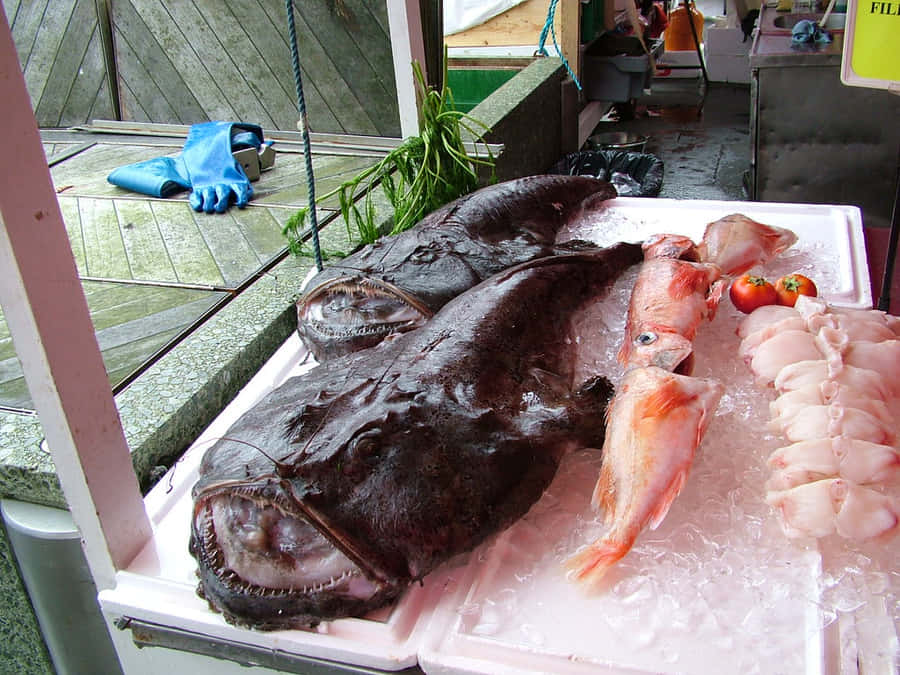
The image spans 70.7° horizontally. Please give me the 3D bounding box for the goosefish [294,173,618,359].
[{"bbox_3d":[0.043,-0.197,1.718,0.505,0.367,0.866,16,27,37],"label":"goosefish"}]

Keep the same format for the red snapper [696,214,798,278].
[{"bbox_3d":[0.832,-0.278,1.829,0.298,0.108,0.238,-27,28,-17],"label":"red snapper"}]

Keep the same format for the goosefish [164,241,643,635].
[{"bbox_3d":[-0.031,0.177,1.277,0.977,0.407,0.458,-21,30,-34],"label":"goosefish"}]

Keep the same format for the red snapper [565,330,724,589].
[{"bbox_3d":[0.411,0.217,1.283,0.242,0.163,0.606,10,49,26],"label":"red snapper"}]
